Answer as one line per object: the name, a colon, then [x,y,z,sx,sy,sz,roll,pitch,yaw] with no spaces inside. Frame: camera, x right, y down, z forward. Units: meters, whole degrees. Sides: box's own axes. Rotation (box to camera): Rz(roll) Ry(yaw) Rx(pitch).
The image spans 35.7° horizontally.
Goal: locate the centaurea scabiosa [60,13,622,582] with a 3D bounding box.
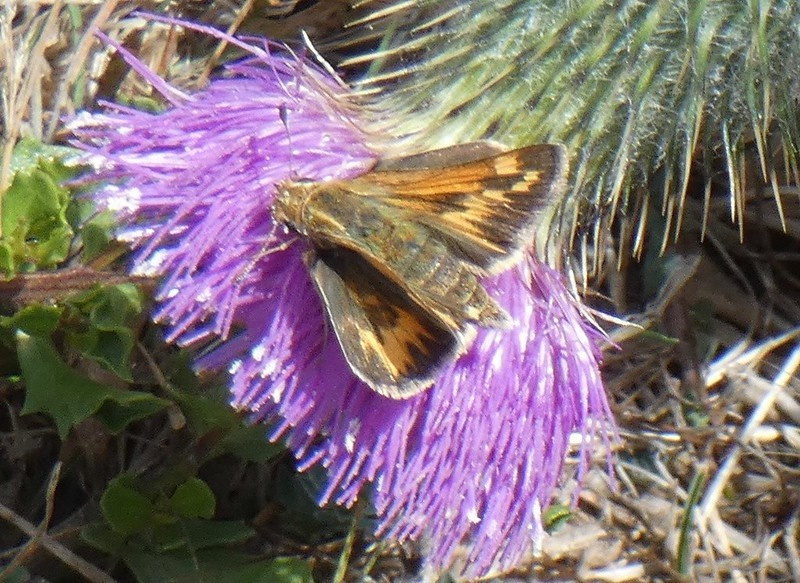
centaurea scabiosa: [-0.080,0.028,2.742,0.957,1.197,0.436,18,3,5]
